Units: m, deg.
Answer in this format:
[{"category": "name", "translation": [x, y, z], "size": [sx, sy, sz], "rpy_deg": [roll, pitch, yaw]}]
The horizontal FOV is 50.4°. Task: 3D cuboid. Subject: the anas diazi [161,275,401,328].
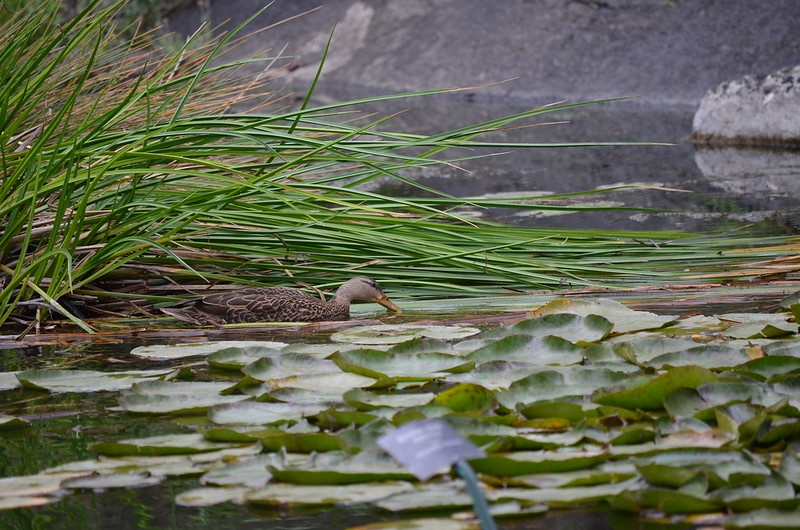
[{"category": "anas diazi", "translation": [-0.598, 0.155, 3.885], "size": [1.326, 0.234, 0.283], "rpy_deg": [0, -10, -6]}]
